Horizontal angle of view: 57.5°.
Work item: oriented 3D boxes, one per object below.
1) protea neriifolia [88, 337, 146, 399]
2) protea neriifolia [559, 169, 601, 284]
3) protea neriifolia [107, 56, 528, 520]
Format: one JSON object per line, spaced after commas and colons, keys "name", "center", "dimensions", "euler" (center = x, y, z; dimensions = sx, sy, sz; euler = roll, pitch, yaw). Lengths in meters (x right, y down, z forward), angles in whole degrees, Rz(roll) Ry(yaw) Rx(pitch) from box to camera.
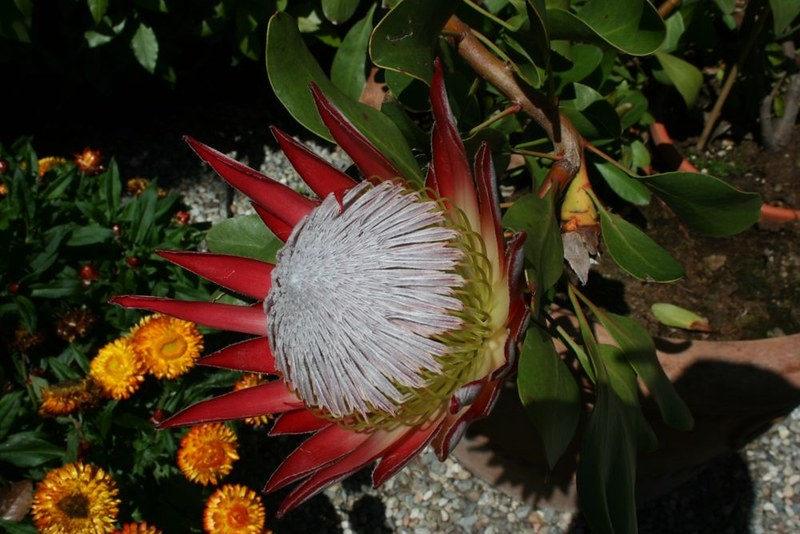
{"name": "protea neriifolia", "center": [-1.162, 0.421, 3.070], "dimensions": [0.220, 0.099, 0.244], "euler": [35, 91, 2]}
{"name": "protea neriifolia", "center": [0.726, -0.174, 2.931], "dimensions": [0.155, 0.273, 0.337], "euler": [-9, 47, -7]}
{"name": "protea neriifolia", "center": [-0.174, 0.087, 2.532], "dimensions": [1.212, 1.155, 0.993], "euler": [2, 46, 3]}
